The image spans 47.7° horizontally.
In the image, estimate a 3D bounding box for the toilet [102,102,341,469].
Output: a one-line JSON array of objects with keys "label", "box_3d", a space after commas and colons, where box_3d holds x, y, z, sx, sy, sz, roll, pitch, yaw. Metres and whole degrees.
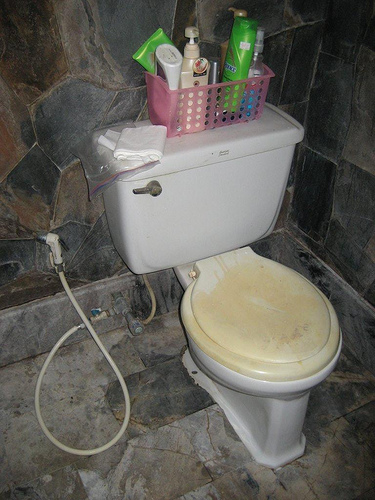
[{"label": "toilet", "box_3d": [0.144, 0.116, 1.093, 0.498, 0.731, 0.614, -19, 44, -19]}]

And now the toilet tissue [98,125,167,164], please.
[{"label": "toilet tissue", "box_3d": [-0.100, -0.234, 0.927, 0.104, 0.036, 0.126, 3, 42, 4]}]

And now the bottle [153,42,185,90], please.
[{"label": "bottle", "box_3d": [-0.041, -0.388, 0.899, 0.055, 0.089, 0.093, -20, 62, -13]}]

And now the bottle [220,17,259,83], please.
[{"label": "bottle", "box_3d": [0.109, -0.453, 0.986, 0.091, 0.151, 0.062, 18, 45, 20]}]

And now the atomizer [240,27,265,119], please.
[{"label": "atomizer", "box_3d": [0.142, -0.416, 1.003, 0.047, 0.169, 0.058, -21, 54, -22]}]
